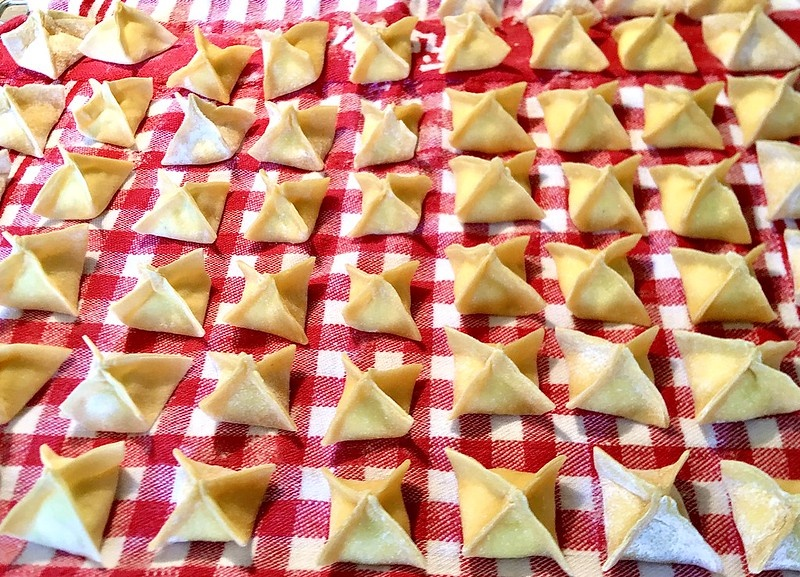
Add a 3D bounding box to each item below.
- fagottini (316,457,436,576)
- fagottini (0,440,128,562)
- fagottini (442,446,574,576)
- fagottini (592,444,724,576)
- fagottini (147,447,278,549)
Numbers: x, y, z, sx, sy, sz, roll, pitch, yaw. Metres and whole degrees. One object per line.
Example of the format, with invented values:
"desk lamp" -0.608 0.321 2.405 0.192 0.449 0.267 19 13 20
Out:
"fagottini" -0.059 0.468 1.675 0.215 0.106 0.201 -4 61 8
"fagottini" -0.708 0.430 1.709 0.210 0.100 0.241 6 63 13
"fagottini" 0.226 0.464 1.672 0.243 0.113 0.244 -4 61 7
"fagottini" 0.534 0.449 1.665 0.243 0.130 0.241 -3 61 8
"fagottini" -0.400 0.456 1.690 0.232 0.102 0.205 3 62 11
